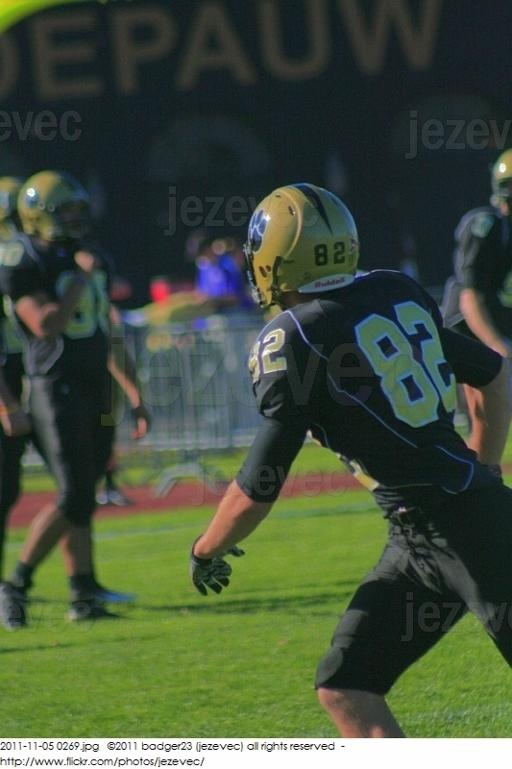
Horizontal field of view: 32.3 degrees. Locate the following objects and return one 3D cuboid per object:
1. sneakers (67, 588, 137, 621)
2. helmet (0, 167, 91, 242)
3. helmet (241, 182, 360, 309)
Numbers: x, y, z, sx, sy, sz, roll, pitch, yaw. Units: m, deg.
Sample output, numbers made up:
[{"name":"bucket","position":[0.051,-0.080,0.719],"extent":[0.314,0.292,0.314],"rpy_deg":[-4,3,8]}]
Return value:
[{"name":"sneakers","position":[-0.623,0.869,3.497],"extent":[0.177,0.073,0.126],"rpy_deg":[2,-12,-22]},{"name":"helmet","position":[-0.792,-0.712,3.561],"extent":[0.352,0.245,0.250],"rpy_deg":[-23,10,17]},{"name":"helmet","position":[0.116,-0.367,2.364],"extent":[0.305,0.289,0.360],"rpy_deg":[-8,14,-20]}]
